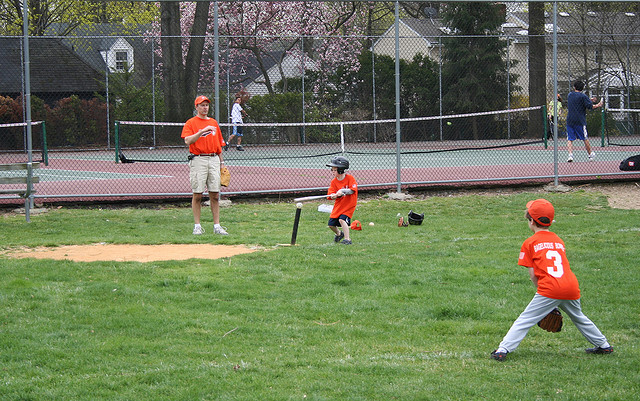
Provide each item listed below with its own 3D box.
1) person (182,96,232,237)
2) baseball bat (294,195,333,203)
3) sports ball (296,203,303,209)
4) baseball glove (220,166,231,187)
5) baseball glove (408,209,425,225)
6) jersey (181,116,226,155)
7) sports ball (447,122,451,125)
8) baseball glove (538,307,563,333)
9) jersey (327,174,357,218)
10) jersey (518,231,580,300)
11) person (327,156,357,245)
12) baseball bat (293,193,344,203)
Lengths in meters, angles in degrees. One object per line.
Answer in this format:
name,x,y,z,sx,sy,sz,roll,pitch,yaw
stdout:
person,-2.257,-0.660,16.978,0.798,2.633,0.612,-3,4,-10
baseball bat,-0.123,-0.016,18.066,0.707,0.079,0.096,-6,-7,-11
sports ball,-0.383,0.121,16.211,0.090,0.085,0.088,2,8,0
baseball glove,-1.927,-0.468,17.539,0.161,0.396,0.503,-3,4,-3
baseball glove,1.955,0.364,17.771,0.291,0.201,0.267,8,-3,-11
jersey,-2.288,-1.231,17.174,0.960,0.763,0.386,0,-1,-40
sports ball,4.223,-2.489,28.536,0.131,0.086,0.157,-1,-2,0
baseball glove,3.434,1.788,13.043,0.294,0.385,0.386,29,-11,13
jersey,0.414,-0.063,16.495,0.532,0.812,0.319,-2,4,5
jersey,3.397,0.972,12.848,0.787,1.006,0.352,-6,-17,-7
person,0.400,0.017,16.481,0.560,1.614,0.520,-2,4,9
baseball bat,-0.014,-0.031,17.909,1.274,0.135,0.134,-4,1,-13
